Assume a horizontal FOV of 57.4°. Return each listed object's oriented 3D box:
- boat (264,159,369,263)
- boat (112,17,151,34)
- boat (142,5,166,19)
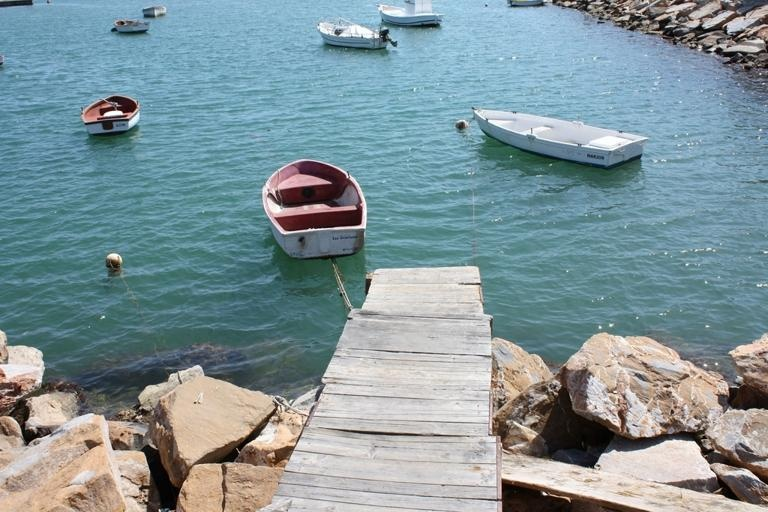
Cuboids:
[{"bbox_3d":[-2.794,-1.995,28.479,3.979,1.372,6.247,-8,33,-11],"label":"boat"},{"bbox_3d":[-21.882,-19.783,60.602,2.102,0.881,3.170,-29,42,-34],"label":"boat"},{"bbox_3d":[-22.753,-23.961,68.806,2.044,0.772,2.435,-22,35,-36],"label":"boat"}]
